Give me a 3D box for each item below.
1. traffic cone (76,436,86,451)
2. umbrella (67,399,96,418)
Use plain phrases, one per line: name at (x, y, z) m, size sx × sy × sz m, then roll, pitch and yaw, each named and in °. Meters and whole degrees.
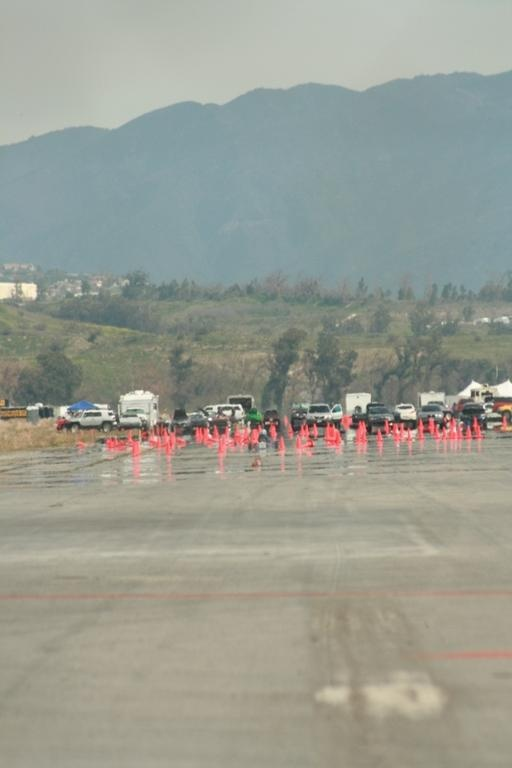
traffic cone at (-5.289, 1.847, 55.434) m, size 0.179 × 0.332 × 0.300 m, roll 0°, pitch -32°, yaw -2°
umbrella at (-8.197, 1.204, 85.442) m, size 1.131 × 0.783 × 1.399 m, roll 0°, pitch -1°, yaw 3°
